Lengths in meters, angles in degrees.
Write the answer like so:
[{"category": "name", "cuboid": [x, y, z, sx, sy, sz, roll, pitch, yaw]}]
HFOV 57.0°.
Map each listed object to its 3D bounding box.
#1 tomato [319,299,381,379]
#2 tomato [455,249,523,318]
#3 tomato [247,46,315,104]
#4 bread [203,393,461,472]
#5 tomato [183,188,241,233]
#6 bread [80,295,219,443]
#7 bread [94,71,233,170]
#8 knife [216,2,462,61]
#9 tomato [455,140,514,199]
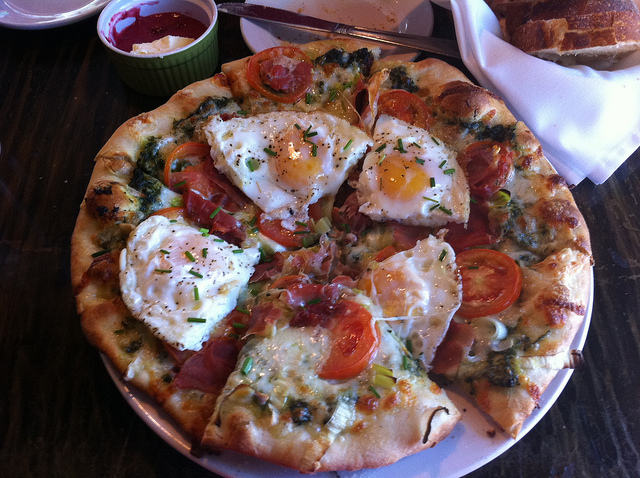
[{"category": "tomato", "cuboid": [0.125, 0.536, 3.162, 0.385, 0.415, 0.138, -35, 116, -25]}, {"category": "tomato", "cuboid": [0.945, 0.238, 3.293, 0.344, 0.144, 0.369, -9, 67, 18]}, {"category": "tomato", "cuboid": [-0.232, -1.066, 3.821, 0.416, 0.368, 0.356, -22, 119, -39]}, {"category": "bread", "cuboid": [0.073, 1.002, 3.011, 1.323, 0.221, 0.334, -3, 79, -1]}, {"category": "tomato", "cuboid": [-0.648, -0.156, 3.521, 0.298, 0.110, 0.217, 15, 93, -8]}, {"category": "bread", "cuboid": [-0.900, 0.695, 3.198, 0.642, 0.413, 0.857, -13, 32, -21]}, {"category": "bread", "cuboid": [-0.957, -0.766, 3.789, 0.823, 0.168, 0.483, -39, 60, -8]}, {"category": "knife", "cuboid": [0.129, -1.496, 4.281, 1.835, 0.088, 0.229, 15, 53, 6]}, {"category": "tomato", "cuboid": [1.008, -0.437, 3.556, 0.326, 0.096, 0.345, -23, 80, -4]}]
